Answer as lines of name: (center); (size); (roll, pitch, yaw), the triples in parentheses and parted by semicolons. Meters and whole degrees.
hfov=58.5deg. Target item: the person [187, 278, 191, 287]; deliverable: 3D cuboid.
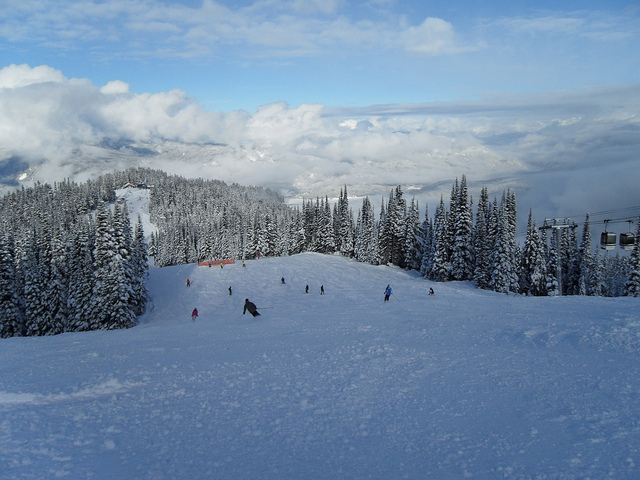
person: (-16.997, 5.680, 73.743); (0.401, 1.040, 1.661); (-5, 3, -13)

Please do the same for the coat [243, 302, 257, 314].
coat: (-6.435, 6.162, 51.557); (1.032, 0.939, 1.658); (-4, 3, -10)

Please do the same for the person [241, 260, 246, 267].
person: (-11.649, 3.660, 86.601); (0.814, 0.785, 0.274); (6, 14, 42)

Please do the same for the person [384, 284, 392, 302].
person: (6.359, 5.088, 54.146); (0.647, 1.465, 2.017); (-4, 3, 11)

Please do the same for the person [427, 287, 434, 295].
person: (10.873, 5.096, 56.282); (0.425, 0.890, 0.688); (-1, 1, -23)

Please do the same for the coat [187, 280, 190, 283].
coat: (-16.938, 5.381, 73.164); (0.358, 0.314, 0.353); (7, 2, 30)

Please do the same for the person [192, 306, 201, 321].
person: (-11.824, 7.111, 54.018); (0.931, 0.978, 1.638); (2, -2, -5)
